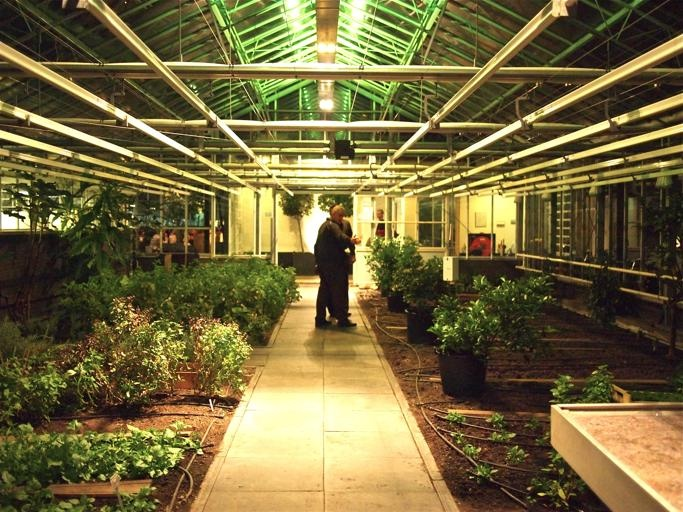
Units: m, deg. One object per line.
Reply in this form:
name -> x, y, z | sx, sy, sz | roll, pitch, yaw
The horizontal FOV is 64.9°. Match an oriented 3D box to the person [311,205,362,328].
person -> -0.136, 0.195, 10.183 | 0.751, 2.275, 0.531 | 2, 6, -2
